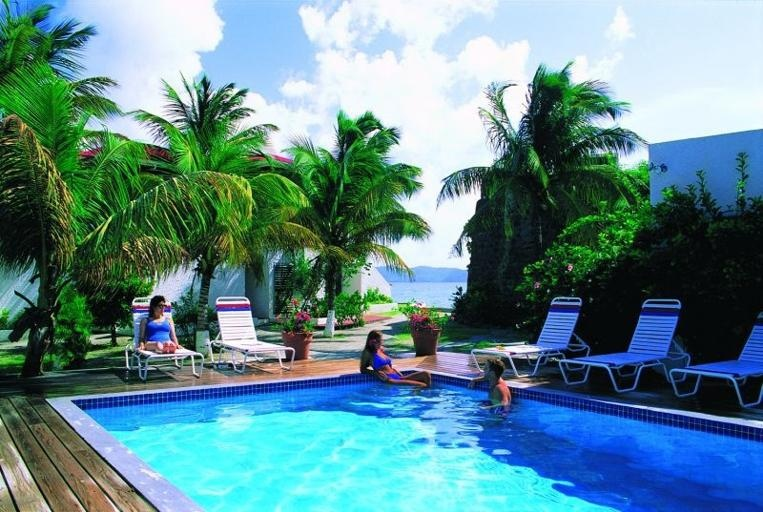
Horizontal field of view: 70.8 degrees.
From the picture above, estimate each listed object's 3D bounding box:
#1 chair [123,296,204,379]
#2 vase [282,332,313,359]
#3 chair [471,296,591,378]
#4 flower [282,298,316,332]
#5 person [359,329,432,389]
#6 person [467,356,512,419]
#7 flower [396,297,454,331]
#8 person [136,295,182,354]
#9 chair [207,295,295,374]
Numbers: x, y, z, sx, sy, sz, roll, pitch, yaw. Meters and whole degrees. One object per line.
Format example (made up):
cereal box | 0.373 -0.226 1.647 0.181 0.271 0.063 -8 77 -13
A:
chair | -4.687 1.739 11.516 1.145 1.535 2.084 1 0 -36
vase | -2.108 2.301 13.557 0.659 0.542 0.687 0 -10 -5
chair | 3.333 1.790 12.224 2.616 1.795 1.520 4 -6 -32
flower | -2.636 1.905 17.462 0.940 1.150 1.021 5 -21 -6
person | 0.353 2.273 11.539 1.716 1.233 0.792 3 1 30
person | 2.034 2.510 10.315 0.752 1.380 1.070 1 -5 6
flower | 1.122 1.620 14.800 1.035 0.781 1.709 -2 13 -3
person | -4.677 1.464 11.497 1.056 1.286 1.134 6 -6 -42
chair | -2.994 1.720 12.092 1.123 1.478 1.875 4 -3 -44
